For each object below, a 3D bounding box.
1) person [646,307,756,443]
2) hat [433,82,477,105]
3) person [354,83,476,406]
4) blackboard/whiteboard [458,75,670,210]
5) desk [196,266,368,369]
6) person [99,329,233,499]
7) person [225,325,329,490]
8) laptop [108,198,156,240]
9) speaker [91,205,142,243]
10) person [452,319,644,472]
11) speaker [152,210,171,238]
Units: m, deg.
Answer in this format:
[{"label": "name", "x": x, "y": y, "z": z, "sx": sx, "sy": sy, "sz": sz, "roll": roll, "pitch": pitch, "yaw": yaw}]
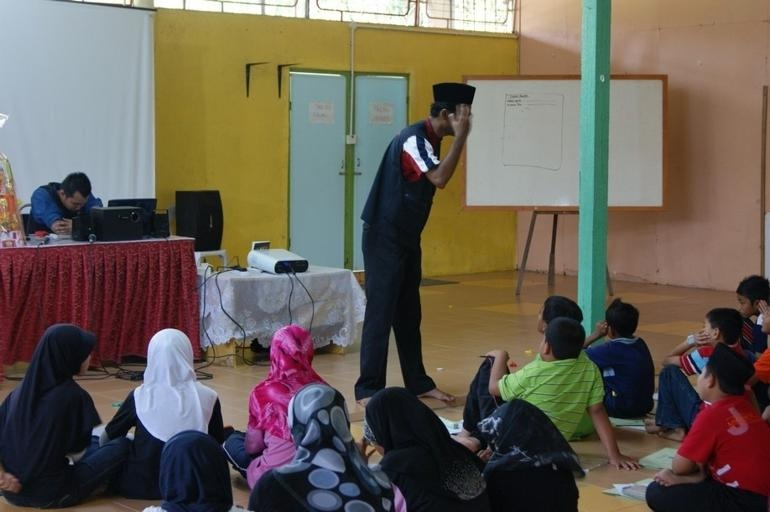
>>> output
[{"label": "person", "x": 1.935, "y": 0.714, "z": 4.112, "sx": 0.441, "sy": 0.841, "sz": 0.438, "roll": -1, "pitch": 12, "yaw": -32}, {"label": "hat", "x": 0.428, "y": -1.010, "z": 4.226, "sx": 0.240, "sy": 0.140, "sz": 0.185, "roll": 1, "pitch": 5, "yaw": 12}, {"label": "person", "x": 0.168, "y": -0.039, "z": 4.408, "sx": 0.770, "sy": 2.093, "sz": 0.524, "roll": 5, "pitch": 7, "yaw": 44}, {"label": "blackboard/whiteboard", "x": 2.197, "y": -1.545, "z": 8.590, "sx": 2.470, "sy": 1.632, "sz": 0.071, "roll": -2, "pitch": 30, "yaw": -2}, {"label": "desk", "x": -0.989, "y": 0.433, "z": 6.177, "sx": 1.448, "sy": 0.738, "sz": 1.304, "roll": -5, "pitch": 10, "yaw": -26}, {"label": "person", "x": -1.097, "y": 0.765, "z": 3.630, "sx": 0.780, "sy": 0.921, "sz": 0.759, "roll": 0, "pitch": 7, "yaw": -18}, {"label": "person", "x": -0.537, "y": 0.797, "z": 3.664, "sx": 0.607, "sy": 0.855, "sz": 0.632, "roll": 4, "pitch": 4, "yaw": -21}, {"label": "laptop", "x": -2.195, "y": -0.342, "z": 5.928, "sx": 0.431, "sy": 0.403, "sz": 0.355, "roll": 2, "pitch": 22, "yaw": -12}, {"label": "speaker", "x": -2.156, "y": -0.262, "z": 5.476, "sx": 0.399, "sy": 0.267, "sz": 0.266, "roll": -1, "pitch": 2, "yaw": -38}, {"label": "person", "x": 0.843, "y": 0.782, "z": 3.913, "sx": 0.495, "sy": 0.833, "sz": 1.379, "roll": 7, "pitch": -7, "yaw": -33}, {"label": "speaker", "x": -1.905, "y": -0.265, "z": 5.782, "sx": 0.139, "sy": 0.204, "sz": 0.386, "roll": -1, "pitch": 5, "yaw": -19}]
